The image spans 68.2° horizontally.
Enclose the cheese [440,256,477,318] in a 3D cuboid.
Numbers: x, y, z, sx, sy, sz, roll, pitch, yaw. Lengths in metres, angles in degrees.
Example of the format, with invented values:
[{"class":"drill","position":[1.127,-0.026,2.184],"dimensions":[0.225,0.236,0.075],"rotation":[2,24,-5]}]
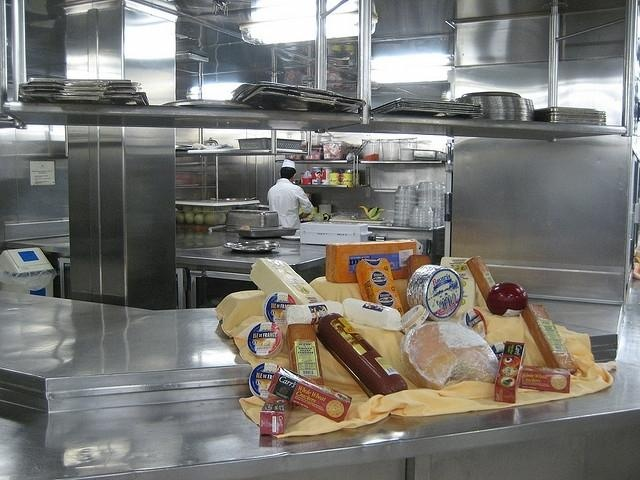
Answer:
[{"class":"cheese","position":[0.527,0.192,1.870],"dimensions":[0.157,0.226,0.151],"rotation":[13,-23,10]}]

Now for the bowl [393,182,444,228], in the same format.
[{"class":"bowl","position":[1.186,-0.411,5.719],"dimensions":[0.621,0.551,0.495],"rotation":[-2,9,10]}]

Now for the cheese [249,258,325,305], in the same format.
[{"class":"cheese","position":[-0.126,0.138,1.727],"dimensions":[0.299,0.063,0.150],"rotation":[32,14,18]}]

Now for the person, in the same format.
[{"class":"person","position":[-0.355,-0.570,6.238],"dimensions":[0.542,0.967,0.486],"rotation":[11,11,32]}]

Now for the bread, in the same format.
[{"class":"bread","position":[0.356,0.311,1.412],"dimensions":[0.264,0.169,0.251],"rotation":[2,4,-21]}]

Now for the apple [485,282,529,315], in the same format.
[{"class":"apple","position":[0.671,0.209,1.716],"dimensions":[0.137,0.112,0.128],"rotation":[0,21,16]}]

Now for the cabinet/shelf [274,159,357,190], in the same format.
[{"class":"cabinet/shelf","position":[-0.017,-0.951,6.865],"dimensions":[1.485,0.385,0.560],"rotation":[4,9,35]}]
